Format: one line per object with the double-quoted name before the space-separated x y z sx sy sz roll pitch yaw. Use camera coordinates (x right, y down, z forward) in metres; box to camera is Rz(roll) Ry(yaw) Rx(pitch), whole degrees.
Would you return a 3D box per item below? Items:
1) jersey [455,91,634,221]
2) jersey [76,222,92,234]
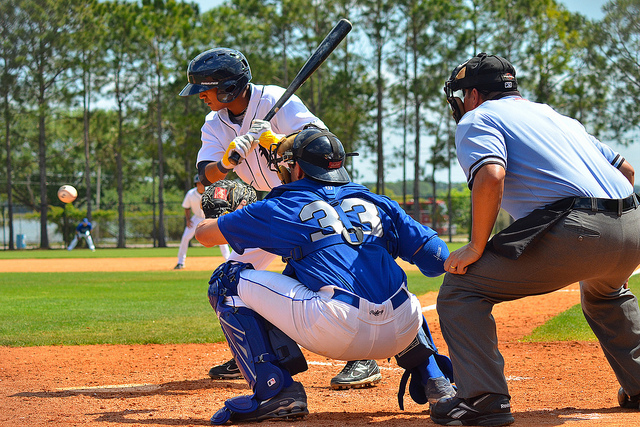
"jersey" 4.274 -1.159 19.451 3.141 2.530 0.410 0 -1 0
"jersey" -9.568 0.613 40.054 0.389 0.319 0.207 28 25 -7
